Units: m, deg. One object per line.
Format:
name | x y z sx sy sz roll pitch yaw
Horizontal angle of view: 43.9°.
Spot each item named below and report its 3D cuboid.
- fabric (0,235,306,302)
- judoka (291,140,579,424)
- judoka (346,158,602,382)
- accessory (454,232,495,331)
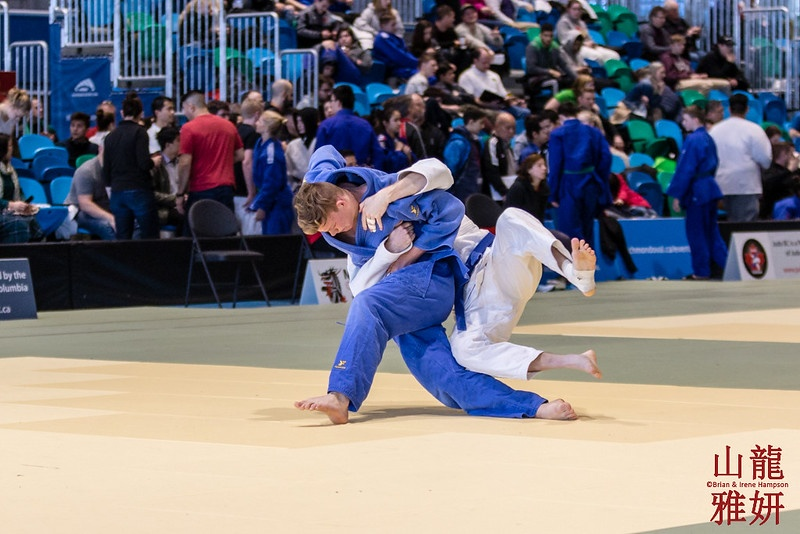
fabric | -2.437 0.037 9.807 2.809 0.723 0.441 0 1 -26
judoka | 0.137 0.079 5.167 1.389 1.475 0.676 5 -20 -17
judoka | 0.480 -0.001 5.351 1.194 1.072 1.805 11 12 3
accessory | 0.376 0.068 5.222 0.119 0.451 0.265 19 -8 23
